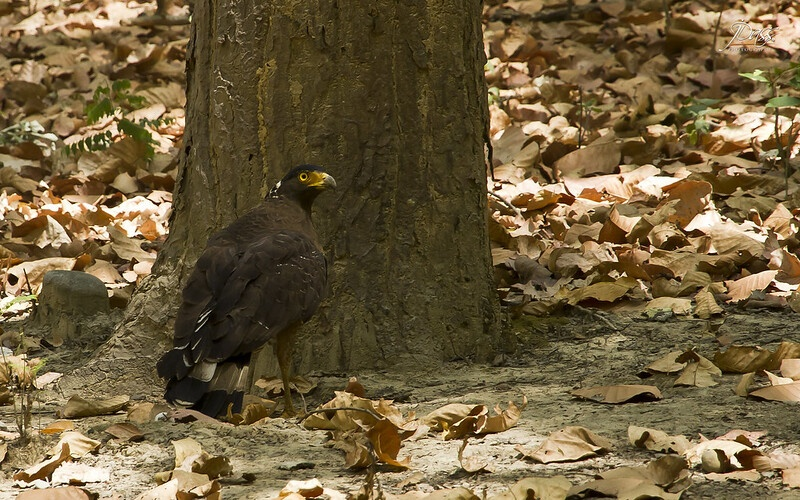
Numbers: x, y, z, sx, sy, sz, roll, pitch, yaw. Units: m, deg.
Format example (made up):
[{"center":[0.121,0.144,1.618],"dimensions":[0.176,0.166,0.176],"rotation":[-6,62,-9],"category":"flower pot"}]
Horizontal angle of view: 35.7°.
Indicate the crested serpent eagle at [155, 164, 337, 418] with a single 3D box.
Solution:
[{"center":[-1.105,0.279,9.077],"dimensions":[1.139,1.908,0.515],"rotation":[4,-26,-5],"category":"crested serpent eagle"}]
